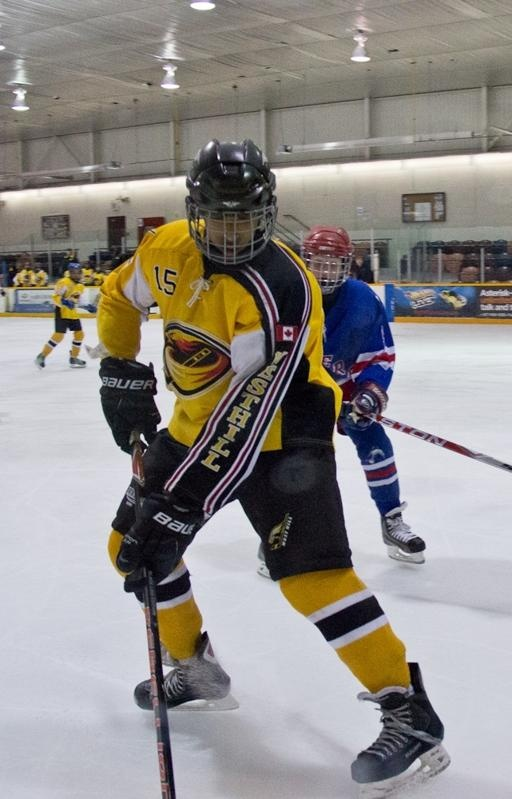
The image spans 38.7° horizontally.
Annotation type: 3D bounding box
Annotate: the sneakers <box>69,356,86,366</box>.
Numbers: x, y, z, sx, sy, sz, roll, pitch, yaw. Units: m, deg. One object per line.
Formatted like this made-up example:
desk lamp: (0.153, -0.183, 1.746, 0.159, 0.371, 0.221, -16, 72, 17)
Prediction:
sneakers: (-2.109, -0.465, 8.658, 0.200, 0.122, 0.089, -3, 13, -17)

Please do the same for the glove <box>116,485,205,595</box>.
glove: (-0.169, 0.244, 1.251, 0.114, 0.187, 0.080, 44, 10, -2)

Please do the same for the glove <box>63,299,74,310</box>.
glove: (-2.298, -1.179, 8.931, 0.139, 0.139, 0.066, -2, 6, -19)

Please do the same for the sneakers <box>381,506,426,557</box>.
sneakers: (0.517, 0.466, 2.593, 0.080, 0.167, 0.220, -13, 13, -27)

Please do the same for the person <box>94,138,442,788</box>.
person: (-0.044, 0.103, 1.365, 0.520, 1.150, 0.724, -6, 8, -43)

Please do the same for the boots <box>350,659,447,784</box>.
boots: (0.241, 0.564, 1.233, 0.163, 0.200, 0.085, -5, 7, -40)

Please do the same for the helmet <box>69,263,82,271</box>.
helmet: (-2.265, -1.660, 9.095, 0.124, 0.075, 0.174, -1, 10, -15)

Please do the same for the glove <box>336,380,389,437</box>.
glove: (0.345, 0.034, 2.543, 0.193, 0.088, 0.144, -26, -1, 40)

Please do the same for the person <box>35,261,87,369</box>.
person: (-2.394, -1.079, 9.064, 0.495, 1.314, 1.505, -2, 5, -14)

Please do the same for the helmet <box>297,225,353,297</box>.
helmet: (0.248, -0.499, 2.504, 0.181, 0.207, 0.231, 8, 27, 12)

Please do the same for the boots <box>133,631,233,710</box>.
boots: (-0.170, 0.585, 1.550, 0.217, 0.129, 0.067, -6, 11, -11)

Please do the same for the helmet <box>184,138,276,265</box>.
helmet: (-0.040, -0.347, 1.295, 0.181, 0.199, 0.215, -1, 41, -1)

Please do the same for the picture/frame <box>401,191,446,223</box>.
picture/frame: (4.086, -4.702, 17.610, 0.932, 0.594, 0.071, 2, 11, 24)
